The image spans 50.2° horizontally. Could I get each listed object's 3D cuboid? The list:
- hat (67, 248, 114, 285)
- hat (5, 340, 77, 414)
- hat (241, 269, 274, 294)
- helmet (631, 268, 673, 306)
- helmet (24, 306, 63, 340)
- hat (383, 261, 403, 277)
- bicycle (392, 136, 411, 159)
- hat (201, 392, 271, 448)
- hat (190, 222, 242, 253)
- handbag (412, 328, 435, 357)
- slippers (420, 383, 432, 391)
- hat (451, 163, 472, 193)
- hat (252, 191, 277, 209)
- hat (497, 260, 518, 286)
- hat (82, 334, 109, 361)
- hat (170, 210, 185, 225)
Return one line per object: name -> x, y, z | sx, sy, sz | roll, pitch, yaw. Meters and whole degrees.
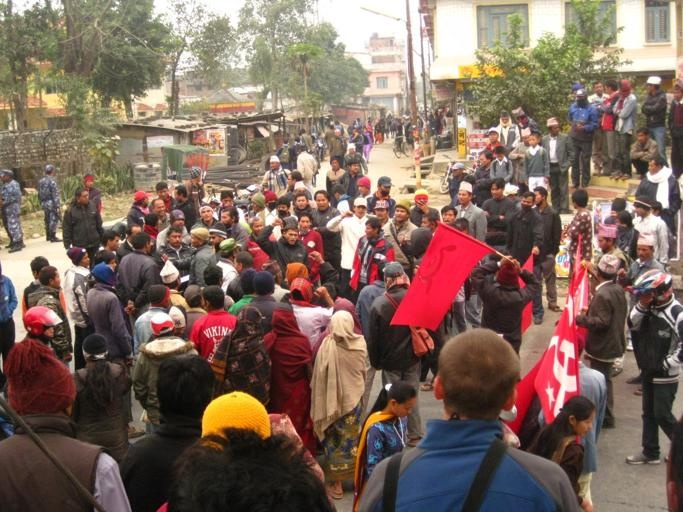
hat -> -3.213, 0.147, 9.344 | 0.370, 0.381, 0.287 | -19, 40, -2
hat -> -2.026, 0.822, 4.885 | 0.422, 0.518, 0.328 | -5, 6, -24
hat -> -0.883, 0.275, 7.603 | 0.299, 0.235, 0.242 | 14, 7, 19
helmet -> 3.184, 0.322, 7.579 | 0.390, 0.354, 0.300 | -11, 11, 16
helmet -> -2.970, 0.661, 7.274 | 0.313, 0.272, 0.250 | 0, 6, -14
hat -> 0.567, 0.152, 8.152 | 0.149, 0.098, 0.219 | -1, 10, 3
bicycle -> 3.074, -5.728, 38.830 | 0.681, 0.860, 1.329 | -22, 22, -41
hat -> -0.651, 1.016, 4.608 | 0.378, 0.231, 0.275 | 21, -5, -21
hat -> -1.794, -0.286, 10.250 | 0.592, 0.308, 0.454 | 12, -12, -41
handbag -> 0.889, 0.928, 7.901 | 0.165, 0.334, 0.274 | 3, 8, 45
slippers -> 1.099, 1.712, 9.503 | 0.101, 0.106, 0.247 | 0, -11, 4
hat -> 2.275, -1.516, 14.311 | 0.367, 0.388, 0.589 | 4, 9, 37
hat -> -1.264, -0.911, 11.876 | 0.281, 0.248, 0.402 | 0, -1, -30
hat -> 1.908, 0.192, 8.271 | 0.251, 0.318, 0.312 | -2, 6, 5
hat -> -2.365, 0.889, 7.002 | 0.193, 0.207, 0.257 | 0, 21, -19
hat -> -2.371, -0.556, 10.610 | 0.252, 0.226, 0.184 | 7, 3, 42
